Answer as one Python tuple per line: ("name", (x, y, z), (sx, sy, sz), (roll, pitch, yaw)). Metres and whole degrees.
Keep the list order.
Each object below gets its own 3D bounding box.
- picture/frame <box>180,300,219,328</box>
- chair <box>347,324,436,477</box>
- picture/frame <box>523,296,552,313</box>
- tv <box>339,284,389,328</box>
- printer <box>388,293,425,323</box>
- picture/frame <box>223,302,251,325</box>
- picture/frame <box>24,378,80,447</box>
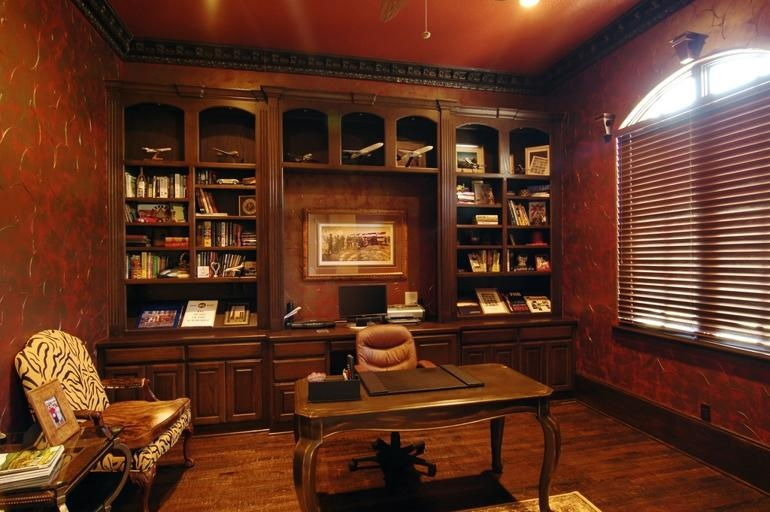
("picture/frame", (-2.166, 0.671, 6.430), (0.394, 0.204, 0.245), (-3, -1, -10))
("chair", (0.075, 1.500, 5.583), (1.031, 1.355, 1.171), (-1, 8, 1))
("picture/frame", (1.986, 0.622, 7.142), (0.227, 0.051, 0.227), (3, 34, -4))
("tv", (-0.254, 0.593, 6.570), (0.535, 0.432, 0.132), (0, 0, -7))
("printer", (0.210, 0.606, 6.824), (0.497, 0.409, 0.425), (-1, 7, -2))
("picture/frame", (-1.730, 0.689, 6.467), (0.293, 0.156, 0.178), (-3, -1, -16))
("picture/frame", (-2.844, 1.344, 4.697), (0.050, 0.639, 0.542), (-24, -5, 9))
